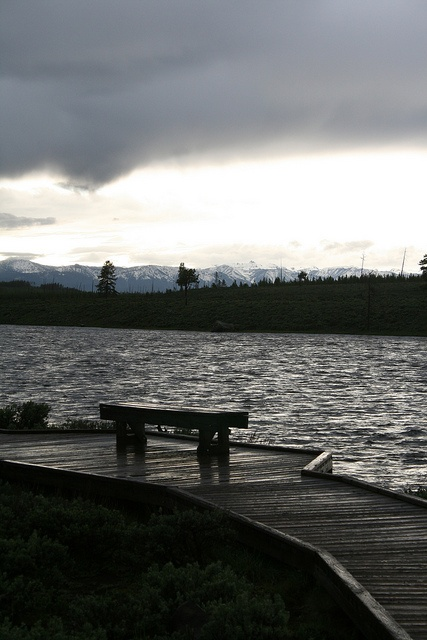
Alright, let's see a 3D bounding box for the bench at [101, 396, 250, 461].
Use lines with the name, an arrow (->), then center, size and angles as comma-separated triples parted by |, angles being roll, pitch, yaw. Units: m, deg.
bench -> -0.613, 1.712, 13.289 | 2.421, 0.777, 1.029 | 4, 4, 43
